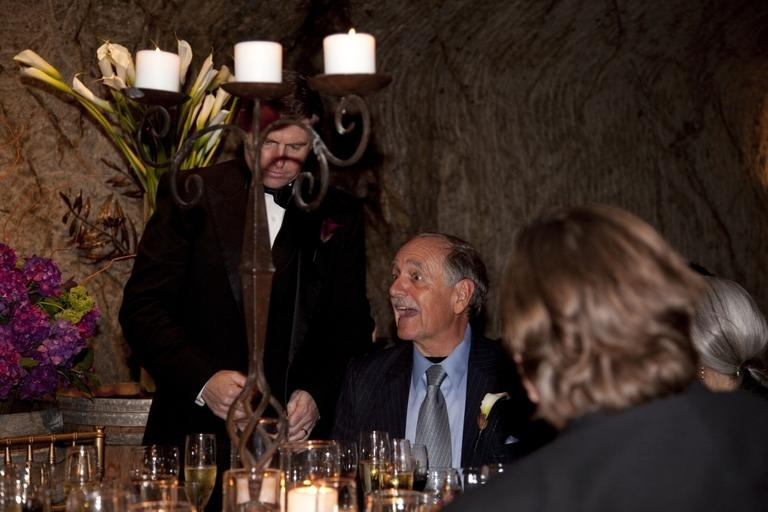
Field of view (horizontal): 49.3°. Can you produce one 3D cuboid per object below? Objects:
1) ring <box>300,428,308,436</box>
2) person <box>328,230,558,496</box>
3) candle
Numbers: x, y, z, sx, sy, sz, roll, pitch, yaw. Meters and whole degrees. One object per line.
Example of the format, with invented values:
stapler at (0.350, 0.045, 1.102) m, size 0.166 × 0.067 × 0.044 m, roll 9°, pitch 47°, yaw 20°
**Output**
ring at (-0.338, 0.739, 3.516) m, size 0.023 × 0.033 × 0.029 m, roll -1°, pitch -3°, yaw 0°
person at (0.329, 0.558, 3.935) m, size 1.208 × 1.271 × 0.674 m, roll 8°, pitch 9°, yaw 41°
candle at (-0.448, -0.637, 2.759) m, size 0.833 × 0.211 × 0.141 m, roll 0°, pitch -3°, yaw 9°
